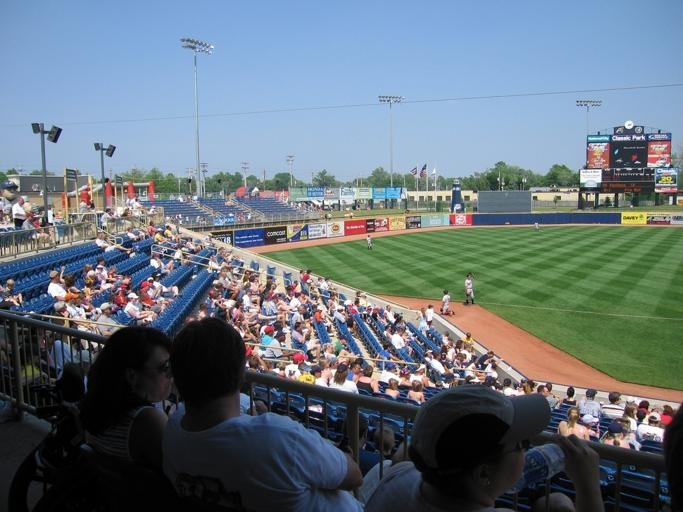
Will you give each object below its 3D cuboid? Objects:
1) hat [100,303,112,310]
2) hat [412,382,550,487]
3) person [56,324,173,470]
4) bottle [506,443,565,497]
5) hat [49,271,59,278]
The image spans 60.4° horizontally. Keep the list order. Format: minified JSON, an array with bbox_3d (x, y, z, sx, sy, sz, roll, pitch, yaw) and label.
[{"bbox_3d":[-3.947,0.880,9.870,0.156,0.147,0.113,-28,34,-32],"label":"hat"},{"bbox_3d":[0.665,0.832,2.795,0.673,0.411,0.204,-1,7,-9],"label":"hat"},{"bbox_3d":[-1.251,0.823,3.828,0.518,0.908,0.696,6,24,12],"label":"person"},{"bbox_3d":[1.017,1.128,3.059,0.271,0.340,0.279,-7,1,0],"label":"bottle"},{"bbox_3d":[-5.403,0.383,11.006,0.168,0.051,0.124,-11,37,31],"label":"hat"}]
